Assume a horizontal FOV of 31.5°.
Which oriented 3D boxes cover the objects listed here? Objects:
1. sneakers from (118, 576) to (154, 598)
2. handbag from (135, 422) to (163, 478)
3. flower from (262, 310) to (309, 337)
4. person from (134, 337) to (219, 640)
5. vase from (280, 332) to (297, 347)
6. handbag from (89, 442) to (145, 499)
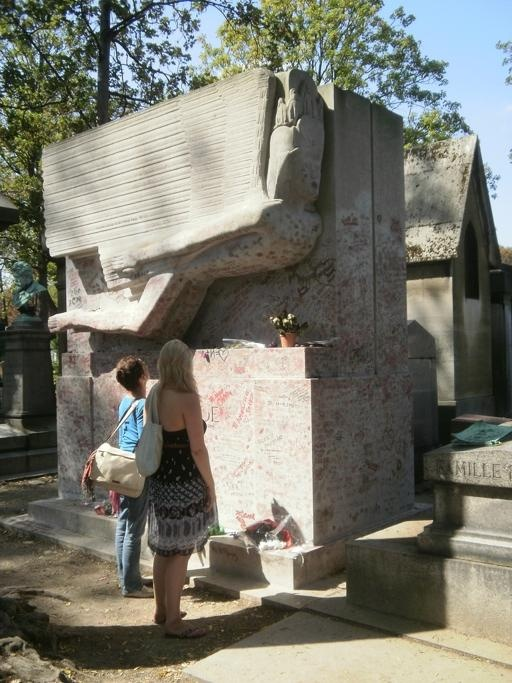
[{"bbox_3d":[-0.822,1.769,6.538,0.320,0.129,0.103,1,-3,-28],"label":"sneakers"},{"bbox_3d":[-0.670,0.686,5.657,0.162,0.389,0.318,10,-17,-17],"label":"handbag"},{"bbox_3d":[0.222,-0.136,7.057,0.220,0.143,0.220,2,0,32],"label":"flower"},{"bbox_3d":[-0.523,0.944,5.723,0.516,1.862,0.399,-9,10,-7],"label":"person"},{"bbox_3d":[0.242,-0.011,6.995,0.112,0.077,0.109,0,-9,4],"label":"vase"},{"bbox_3d":[-0.908,0.884,6.185,0.470,0.318,0.166,6,4,30],"label":"handbag"}]
